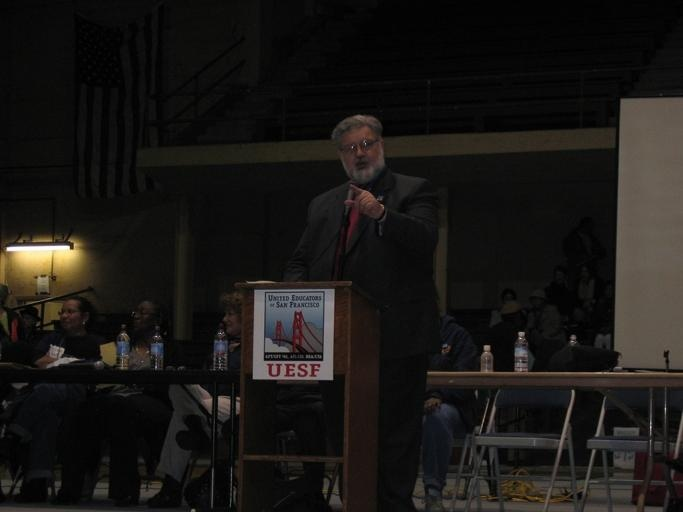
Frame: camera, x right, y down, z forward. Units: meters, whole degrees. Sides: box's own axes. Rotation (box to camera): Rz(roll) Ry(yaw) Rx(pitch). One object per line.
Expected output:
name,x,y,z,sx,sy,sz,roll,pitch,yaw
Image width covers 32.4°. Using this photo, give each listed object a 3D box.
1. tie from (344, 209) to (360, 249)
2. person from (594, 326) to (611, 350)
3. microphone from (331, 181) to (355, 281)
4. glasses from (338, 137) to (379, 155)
tie,0.086,-0.190,8.889,0.040,0.299,0.079,14,-20,2
person,3.597,1.121,16.112,0.204,0.309,0.716,2,-6,9
microphone,0.025,-0.149,8.904,0.124,0.730,0.191,14,5,-6
glasses,0.144,-0.823,8.865,0.152,0.044,0.154,-17,-9,11
